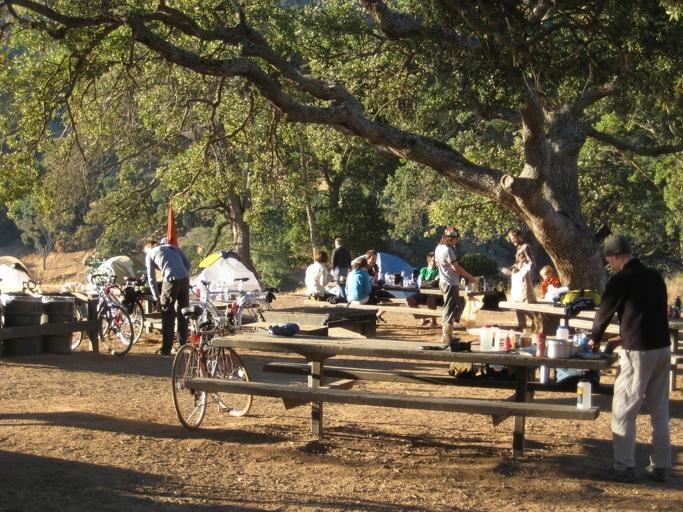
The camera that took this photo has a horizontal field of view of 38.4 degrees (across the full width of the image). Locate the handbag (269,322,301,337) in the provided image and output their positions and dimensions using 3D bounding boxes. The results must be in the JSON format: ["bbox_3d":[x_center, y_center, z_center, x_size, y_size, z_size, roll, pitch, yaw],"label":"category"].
[{"bbox_3d":[-0.895,1.152,15.344,0.361,0.161,0.213,3,-5,-5],"label":"handbag"}]

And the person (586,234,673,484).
[{"bbox_3d":[4.179,1.455,14.022,1.251,3.391,0.967,6,14,19],"label":"person"}]

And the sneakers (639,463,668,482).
[{"bbox_3d":[4.489,3.107,14.119,0.161,0.188,0.385,-7,14,-28],"label":"sneakers"}]

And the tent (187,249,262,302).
[{"bbox_3d":[-3.552,0.560,30.263,1.913,0.944,1.880,0,0,-16],"label":"tent"}]

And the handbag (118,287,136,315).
[{"bbox_3d":[-4.710,0.979,21.705,0.162,0.548,0.393,3,0,26],"label":"handbag"}]

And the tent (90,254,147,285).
[{"bbox_3d":[-8.107,0.433,36.037,2.371,0.986,2.091,-2,-1,-16],"label":"tent"}]

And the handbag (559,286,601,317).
[{"bbox_3d":[4.001,0.804,16.564,0.689,0.298,0.853,-3,1,31],"label":"handbag"}]

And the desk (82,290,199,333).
[{"bbox_3d":[-4.230,1.167,20.456,1.851,1.087,0.928,3,4,6],"label":"desk"}]

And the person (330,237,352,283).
[{"bbox_3d":[0.006,0.242,27.012,0.528,1.473,0.373,-1,23,0],"label":"person"}]

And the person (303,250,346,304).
[{"bbox_3d":[-0.519,0.476,23.845,0.807,1.180,0.947,6,1,21],"label":"person"}]

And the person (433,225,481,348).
[{"bbox_3d":[2.305,0.576,19.870,0.863,2.289,0.878,1,1,9],"label":"person"}]

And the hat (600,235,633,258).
[{"bbox_3d":[4.008,-0.192,14.287,0.334,0.386,0.392,-21,24,-32],"label":"hat"}]

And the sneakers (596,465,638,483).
[{"bbox_3d":[3.955,3.094,14.068,0.509,0.238,0.236,5,3,13],"label":"sneakers"}]

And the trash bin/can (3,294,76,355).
[{"bbox_3d":[-6.127,1.377,20.046,1.182,1.128,1.177,1,2,-3],"label":"trash bin/can"}]
